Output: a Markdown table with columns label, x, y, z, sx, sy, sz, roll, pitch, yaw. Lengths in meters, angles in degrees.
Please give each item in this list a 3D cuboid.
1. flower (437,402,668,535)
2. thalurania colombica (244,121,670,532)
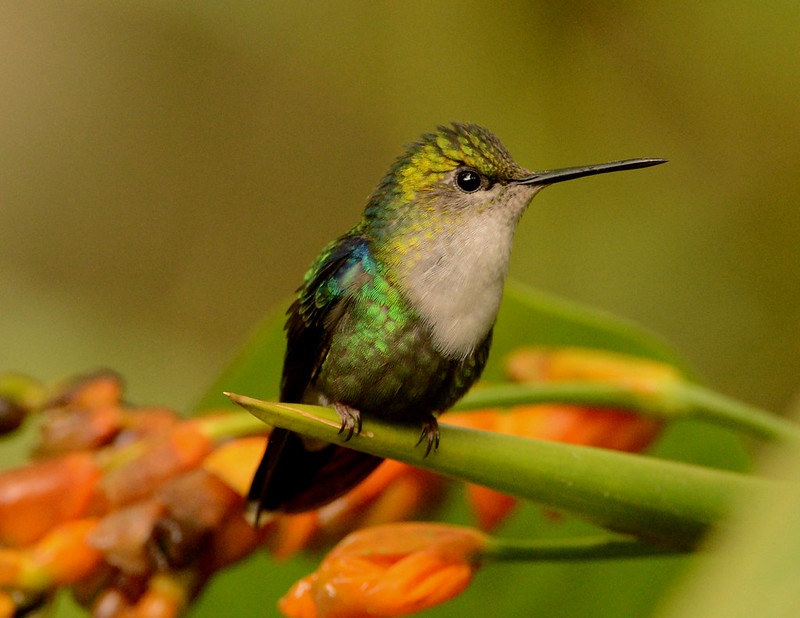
| label | x | y | z | sx | sy | sz | roll | pitch | yaw |
| --- | --- | --- | --- | --- | --- | --- | --- | --- | --- |
| flower | 0.131 | 0.169 | 1.114 | 0.120 | 0.162 | 0.278 | 23 | -11 | -38 |
| thalurania colombica | 0.001 | 0.019 | 1.291 | 0.528 | 0.521 | 0.253 | 2 | -12 | 41 |
